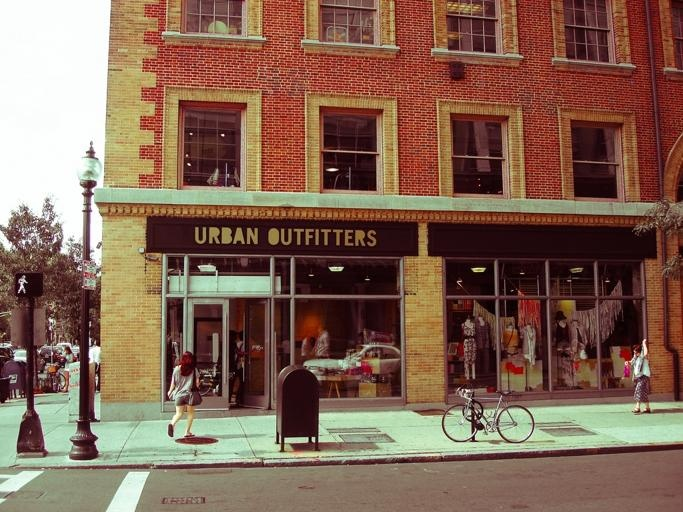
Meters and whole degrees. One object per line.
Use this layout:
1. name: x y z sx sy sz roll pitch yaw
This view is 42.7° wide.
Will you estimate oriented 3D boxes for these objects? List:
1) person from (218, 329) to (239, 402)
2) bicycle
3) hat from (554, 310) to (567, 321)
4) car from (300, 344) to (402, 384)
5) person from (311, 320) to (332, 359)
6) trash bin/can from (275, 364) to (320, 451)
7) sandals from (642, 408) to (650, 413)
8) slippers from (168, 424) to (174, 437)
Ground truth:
1. person: -3.155 3.146 24.702 0.487 2.101 0.901 -1 -6 11
2. bicycle: 3.475 3.820 20.883 2.110 1.284 1.072 -1 -6 8
3. hat: 6.502 1.754 25.994 0.266 0.174 0.275 -2 -8 -15
4. car: 0.314 3.065 25.155 2.426 0.815 1.163 2 -6 -10
5. person: -0.558 2.358 24.756 0.506 1.019 0.136 0 -6 -1
6. trash bin/can: -1.002 3.492 20.079 0.968 1.917 0.569 0 -6 -4
7. sandals: 8.455 4.257 24.212 0.212 0.174 0.549 -2 -6 18
8. slippers: -4.004 4.089 20.476 0.184 0.396 0.157 -1 -5 -3
